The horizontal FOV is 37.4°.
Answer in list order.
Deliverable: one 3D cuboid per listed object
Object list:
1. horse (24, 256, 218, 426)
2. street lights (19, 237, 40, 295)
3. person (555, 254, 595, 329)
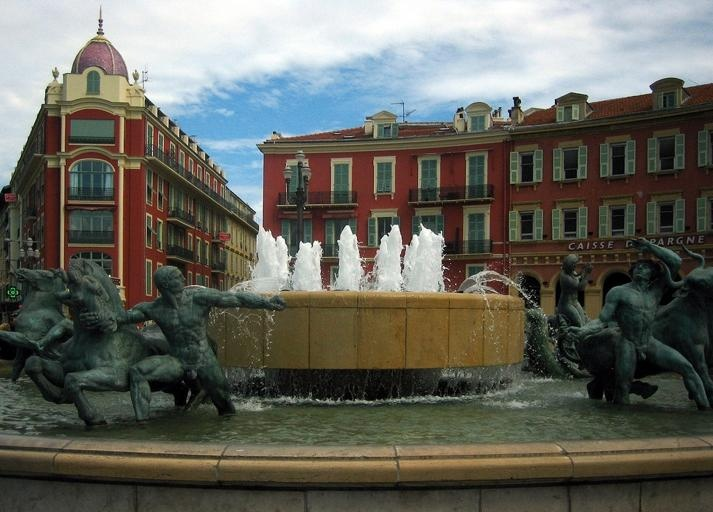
[{"bbox_3d":[-3.743,1.216,15.201,1.730,2.365,0.815,0,-4,-12],"label":"horse"},{"bbox_3d":[-14.848,0.377,47.863,0.893,2.305,0.710,3,-2,-24],"label":"street lights"},{"bbox_3d":[5.924,0.893,28.137,0.932,0.954,2.739,1,-44,22],"label":"person"}]
